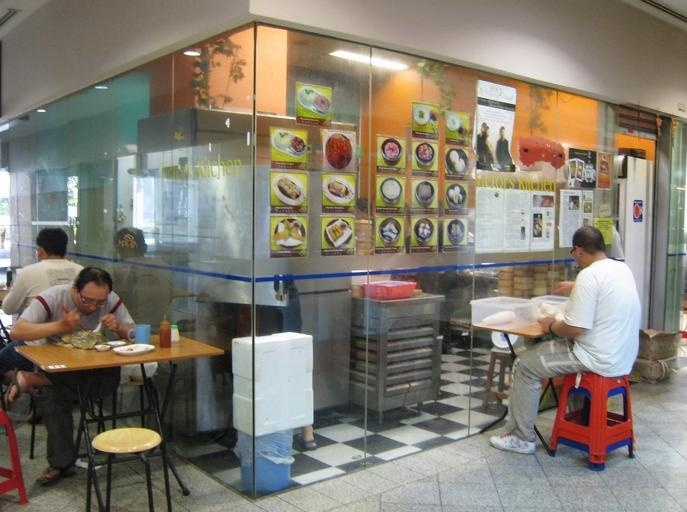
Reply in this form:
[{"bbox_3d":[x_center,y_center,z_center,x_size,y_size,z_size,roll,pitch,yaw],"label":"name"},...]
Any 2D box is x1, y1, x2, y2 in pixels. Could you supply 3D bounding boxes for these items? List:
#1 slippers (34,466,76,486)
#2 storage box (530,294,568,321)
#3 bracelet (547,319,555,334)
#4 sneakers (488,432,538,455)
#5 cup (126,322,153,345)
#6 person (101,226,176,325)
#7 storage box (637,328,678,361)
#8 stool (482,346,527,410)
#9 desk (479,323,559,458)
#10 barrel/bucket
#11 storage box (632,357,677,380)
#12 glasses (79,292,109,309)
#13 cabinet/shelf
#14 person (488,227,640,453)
[{"bbox_3d":[-2.122,1.599,4.028,0.094,0.108,0.277,-5,-12,34],"label":"slippers"},{"bbox_3d":[2.031,0.477,5.270,0.361,0.145,0.257,2,-1,-35],"label":"storage box"},{"bbox_3d":[1.692,0.570,4.430,0.023,0.089,0.095,5,12,25],"label":"bracelet"},{"bbox_3d":[1.417,1.520,4.539,0.349,0.152,0.134,7,3,23],"label":"sneakers"},{"bbox_3d":[-1.573,0.579,4.190,0.212,0.194,0.124,-1,-9,-3],"label":"cup"},{"bbox_3d":[-1.742,0.175,4.720,0.444,0.833,0.858,-5,7,-44],"label":"person"},{"bbox_3d":[3.707,1.035,6.418,0.390,0.166,0.485,-2,5,-41],"label":"storage box"},{"bbox_3d":[1.401,1.092,5.024,0.411,0.443,0.413,11,-14,-33],"label":"stool"},{"bbox_3d":[1.596,1.124,5.330,0.942,1.277,1.106,-1,-1,28],"label":"desk"},{"bbox_3d":[-0.630,1.450,4.032,0.492,0.466,0.487,5,-16,1],"label":"barrel/bucket"},{"bbox_3d":[3.761,1.315,6.526,0.428,0.145,0.323,-6,8,-36],"label":"storage box"},{"bbox_3d":[-1.849,0.325,4.030,0.183,0.100,0.105,-1,6,-14],"label":"glasses"},{"bbox_3d":[0.397,0.809,4.574,0.761,0.910,0.491,2,-1,-39],"label":"cabinet/shelf"},{"bbox_3d":[1.832,0.813,4.430,1.024,1.595,0.331,3,6,19],"label":"person"}]
